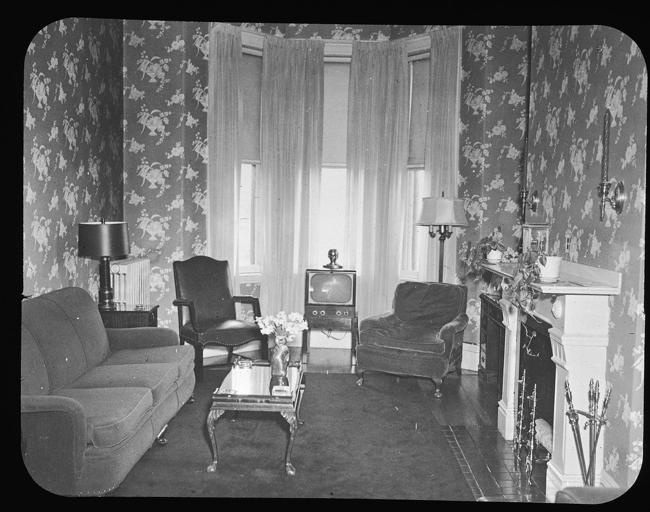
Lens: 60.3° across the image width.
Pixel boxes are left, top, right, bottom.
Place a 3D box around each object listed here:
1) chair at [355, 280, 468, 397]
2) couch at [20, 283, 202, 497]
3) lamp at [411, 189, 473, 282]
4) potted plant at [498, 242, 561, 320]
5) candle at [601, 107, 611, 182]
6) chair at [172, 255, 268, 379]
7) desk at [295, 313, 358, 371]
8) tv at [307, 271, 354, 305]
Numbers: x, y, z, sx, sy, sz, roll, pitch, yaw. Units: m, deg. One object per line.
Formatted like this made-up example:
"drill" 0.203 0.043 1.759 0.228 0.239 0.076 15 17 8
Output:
"chair" 0.793 0.722 4.921 0.888 0.938 1.007 4 0 35
"couch" -1.371 0.739 3.471 0.777 0.880 1.693 -2 5 0
"lamp" 1.079 -0.153 5.178 0.444 0.842 0.636 3 8 15
"potted plant" 1.265 0.103 3.444 0.151 0.418 0.401 22 -34 -15
"candle" 1.476 -0.576 2.949 0.048 0.381 0.184 5 9 26
"chair" -0.954 0.504 4.944 0.713 1.074 0.756 -1 0 -24
"desk" 0.031 0.737 5.430 0.545 0.638 0.570 1 9 -6
"tv" 0.053 0.271 5.331 0.471 0.376 0.276 1 20 -5
